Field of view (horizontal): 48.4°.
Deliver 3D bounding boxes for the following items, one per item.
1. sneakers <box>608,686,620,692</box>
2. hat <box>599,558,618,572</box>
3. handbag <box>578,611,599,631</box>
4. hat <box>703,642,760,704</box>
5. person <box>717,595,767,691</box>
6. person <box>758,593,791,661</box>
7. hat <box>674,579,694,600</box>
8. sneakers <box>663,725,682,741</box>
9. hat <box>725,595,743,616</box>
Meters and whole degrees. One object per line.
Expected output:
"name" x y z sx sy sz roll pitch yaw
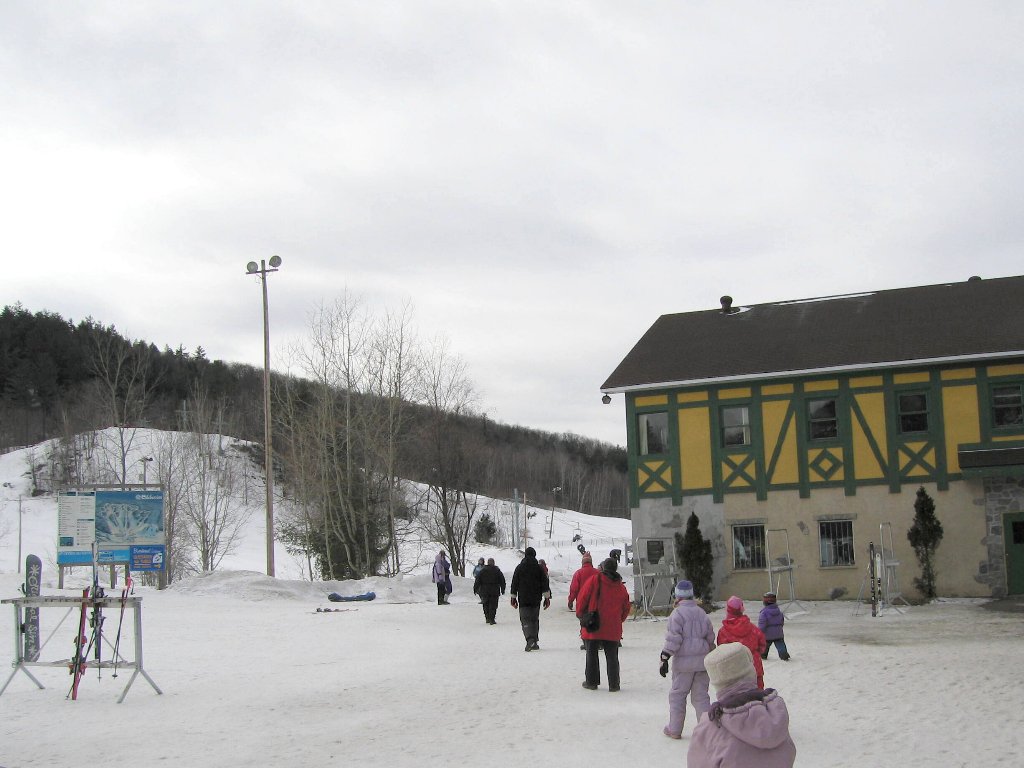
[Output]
"sneakers" 1.738 5.169 19.319 0.202 0.109 0.259 0 -11 -3
"hat" 1.676 3.173 19.957 0.272 0.261 0.604 -1 -11 2
"handbag" 1.302 4.035 19.388 0.235 0.396 0.363 2 -6 1
"hat" 2.275 3.062 12.205 0.502 0.611 0.587 -19 -3 44
"person" 3.649 4.334 18.029 0.761 1.940 0.640 -6 9 5
"person" 4.954 4.624 21.732 0.621 1.290 0.526 -1 4 22
"hat" 2.609 3.149 17.375 0.267 0.336 0.316 1 -3 -19
"sneakers" 2.326 5.067 16.594 0.129 0.308 0.285 3 1 -22
"hat" 3.457 3.409 17.643 0.253 0.344 0.351 2 16 1
